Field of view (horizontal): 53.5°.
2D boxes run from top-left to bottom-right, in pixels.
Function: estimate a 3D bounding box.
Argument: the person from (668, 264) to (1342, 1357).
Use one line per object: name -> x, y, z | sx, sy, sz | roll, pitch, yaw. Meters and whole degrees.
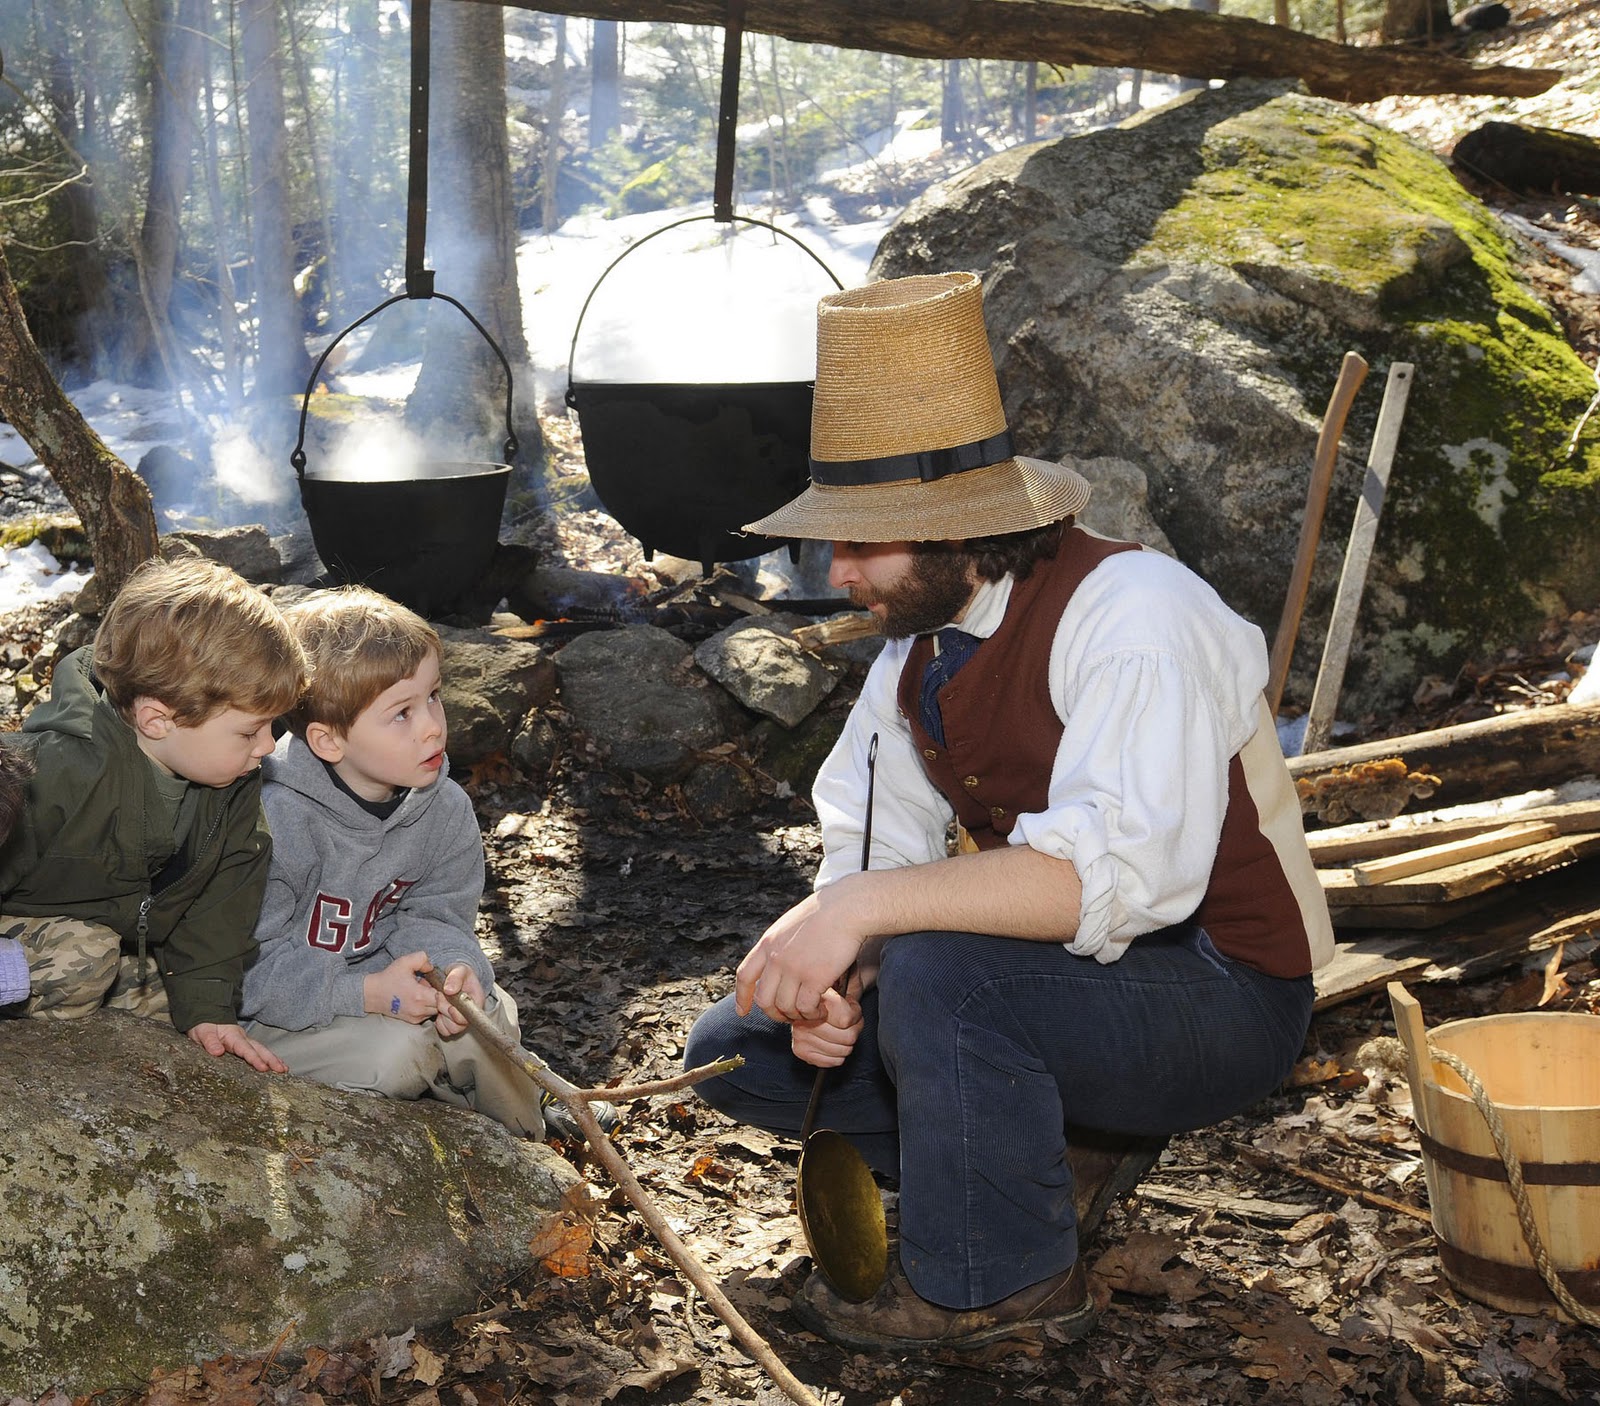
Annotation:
person -> 0.335, 0.174, 2.837 | 0.931, 1.811, 0.859 | -15, 26, -34
